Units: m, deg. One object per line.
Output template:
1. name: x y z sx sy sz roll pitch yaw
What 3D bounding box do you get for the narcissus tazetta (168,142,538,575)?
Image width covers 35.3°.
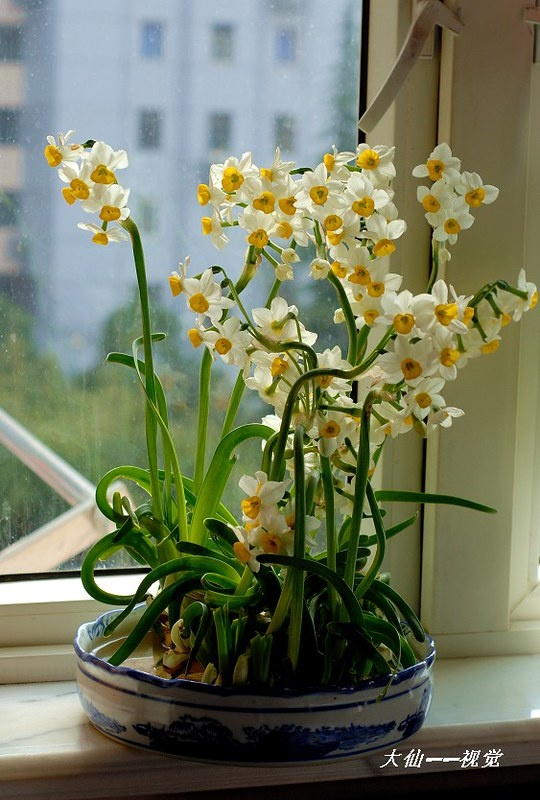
1. narcissus tazetta: 0.059 -0.033 0.747 0.283 0.391 0.261 -1 5 -28

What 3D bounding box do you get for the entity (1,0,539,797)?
1. entity: -0.016 -0.033 1.045 0.643 0.782 0.595 3 5 9
